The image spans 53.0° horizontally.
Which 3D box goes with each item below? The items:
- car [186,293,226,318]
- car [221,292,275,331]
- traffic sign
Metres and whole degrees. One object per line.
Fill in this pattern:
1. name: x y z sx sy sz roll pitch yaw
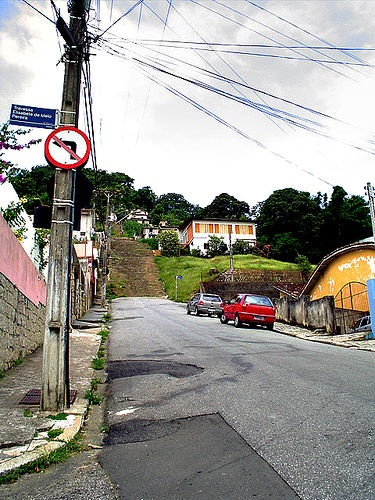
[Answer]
1. car: 1.133 3.724 25.275 1.348 1.148 2.403 4 -7 -13
2. car: 2.885 3.051 19.070 1.441 1.189 2.558 5 -9 -10
3. traffic sign: -1.557 -1.368 4.940 0.553 0.633 0.291 -1 -5 1
